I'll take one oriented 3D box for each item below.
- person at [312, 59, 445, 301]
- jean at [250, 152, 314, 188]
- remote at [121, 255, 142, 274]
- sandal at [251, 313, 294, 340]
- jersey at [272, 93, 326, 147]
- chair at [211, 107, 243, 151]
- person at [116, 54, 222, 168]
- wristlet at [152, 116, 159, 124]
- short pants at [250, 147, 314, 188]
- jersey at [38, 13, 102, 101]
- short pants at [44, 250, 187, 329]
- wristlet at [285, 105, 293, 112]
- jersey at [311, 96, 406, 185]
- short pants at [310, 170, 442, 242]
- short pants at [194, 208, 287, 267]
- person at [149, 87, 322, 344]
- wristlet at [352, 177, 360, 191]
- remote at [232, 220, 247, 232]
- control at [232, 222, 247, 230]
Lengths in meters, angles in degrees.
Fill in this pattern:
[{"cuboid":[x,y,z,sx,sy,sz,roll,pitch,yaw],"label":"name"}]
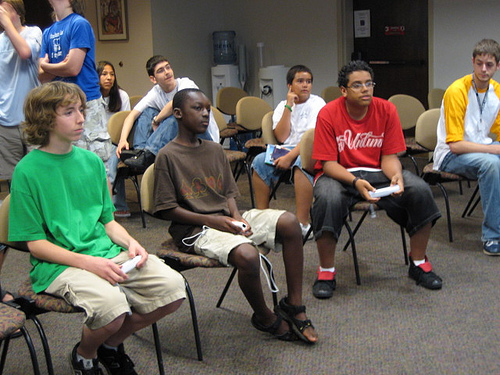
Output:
[{"cuboid":[0.836,-0.124,2.522,0.840,1.400,1.099,3,14,21],"label":"person"},{"cuboid":[0.261,-0.158,3.187,0.316,0.419,0.301,4,8,38],"label":"jean"},{"cuboid":[-0.469,0.303,1.476,0.064,0.020,0.036,-27,4,-16],"label":"remote"},{"cuboid":[0.126,0.683,1.920,0.219,0.103,0.093,22,-9,12],"label":"sandal"},{"cuboid":[0.418,-0.553,3.137,0.370,0.521,0.285,14,-6,29],"label":"jersey"},{"cuboid":[-0.269,-0.697,4.486,0.385,0.681,0.391,1,6,19],"label":"chair"},{"cuboid":[-0.875,-0.755,3.603,0.562,1.026,1.040,8,17,31],"label":"person"},{"cuboid":[-0.904,-0.641,3.554,0.053,0.074,0.022,-3,-2,41],"label":"wristlet"},{"cuboid":[0.280,-0.152,3.108,0.350,0.537,0.274,3,-2,-36],"label":"short pants"},{"cuboid":[-1.283,-0.887,2.673,0.369,0.642,0.328,-3,9,10],"label":"jersey"},{"cuboid":[-0.567,0.401,1.579,0.482,0.217,0.506,5,7,41],"label":"short pants"},{"cuboid":[0.340,-0.699,3.294,0.048,0.048,0.030,0,13,8],"label":"wristlet"},{"cuboid":[0.735,-0.342,2.521,0.593,0.576,0.337,-4,14,2],"label":"jersey"},{"cuboid":[0.767,0.090,2.316,0.572,0.576,0.511,-1,-12,-8],"label":"short pants"},{"cuboid":[-0.045,0.235,1.826,0.243,0.149,0.372,6,20,27],"label":"short pants"},{"cuboid":[-0.052,0.125,1.887,0.882,1.269,0.557,3,11,35],"label":"person"},{"cuboid":[0.649,-0.015,2.284,0.015,0.061,0.059,4,-10,23],"label":"wristlet"},{"cuboid":[-0.046,0.186,1.860,0.058,0.022,0.044,29,8,22],"label":"remote"},{"cuboid":[-0.044,0.186,1.862,0.042,0.017,0.032,17,4,24],"label":"control"}]
